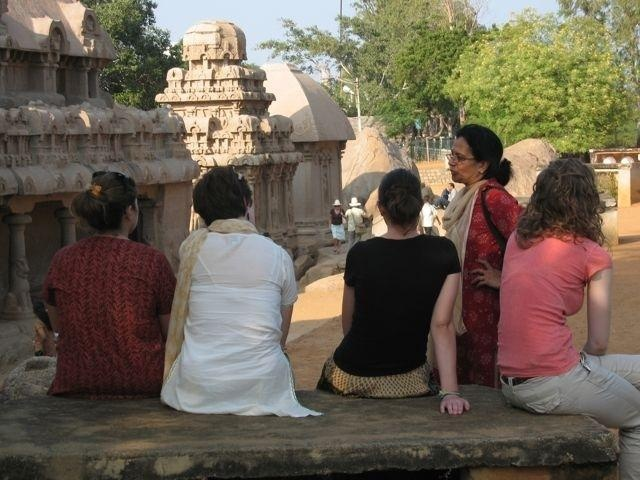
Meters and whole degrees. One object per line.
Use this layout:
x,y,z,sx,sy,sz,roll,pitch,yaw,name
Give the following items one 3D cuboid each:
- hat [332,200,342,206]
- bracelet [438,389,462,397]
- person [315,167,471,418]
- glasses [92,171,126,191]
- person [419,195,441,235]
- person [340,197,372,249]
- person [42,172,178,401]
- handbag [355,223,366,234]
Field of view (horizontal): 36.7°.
0.369,-0.808,21.125,0.226,0.076,0.223,2,0,1,hat
0.771,0.891,5.646,0.079,0.045,0.064,4,0,-6,bracelet
0.577,0.301,6.167,1.026,1.367,1.810,-1,1,-20,person
-1.302,-0.373,5.828,0.124,0.080,0.156,3,-18,-35,glasses
1.936,-0.354,17.089,0.249,0.931,0.415,-28,37,-37,person
0.785,-0.302,20.412,0.484,1.126,0.389,0,19,-9,person
-1.283,0.269,5.859,0.796,1.356,0.329,-3,7,-10,person
0.874,-0.217,20.282,0.150,0.192,0.276,1,1,16,handbag
